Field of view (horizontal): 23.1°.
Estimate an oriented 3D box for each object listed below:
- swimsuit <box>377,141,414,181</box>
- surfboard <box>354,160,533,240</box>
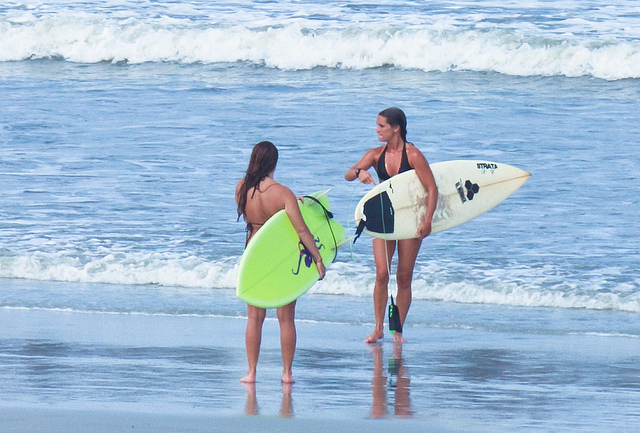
[{"bbox_3d":[1.524,-1.112,30.856,0.721,0.752,0.167,1,1,3],"label":"swimsuit"},{"bbox_3d":[2.394,-0.385,31.220,4.365,1.254,0.365,-12,3,-23],"label":"surfboard"}]
